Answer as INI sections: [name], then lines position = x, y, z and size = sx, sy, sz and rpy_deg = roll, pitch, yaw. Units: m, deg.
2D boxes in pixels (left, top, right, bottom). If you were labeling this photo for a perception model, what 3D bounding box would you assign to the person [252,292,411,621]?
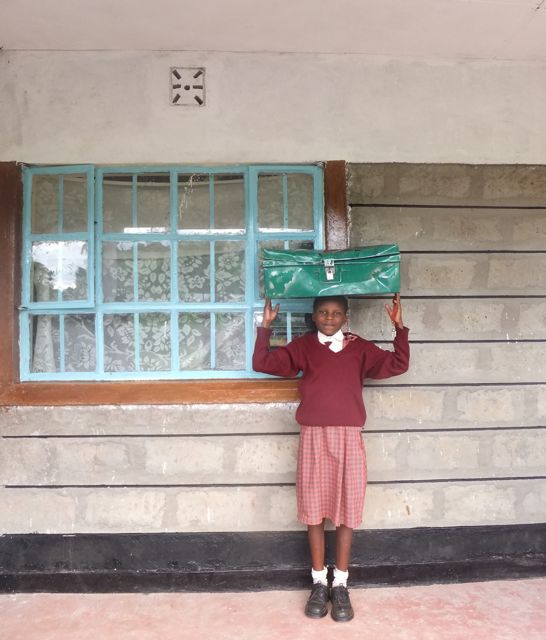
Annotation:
[person]
position = 0.262, 0.641, 5.733
size = 0.737, 1.549, 0.190
rpy_deg = 1, -2, 4
